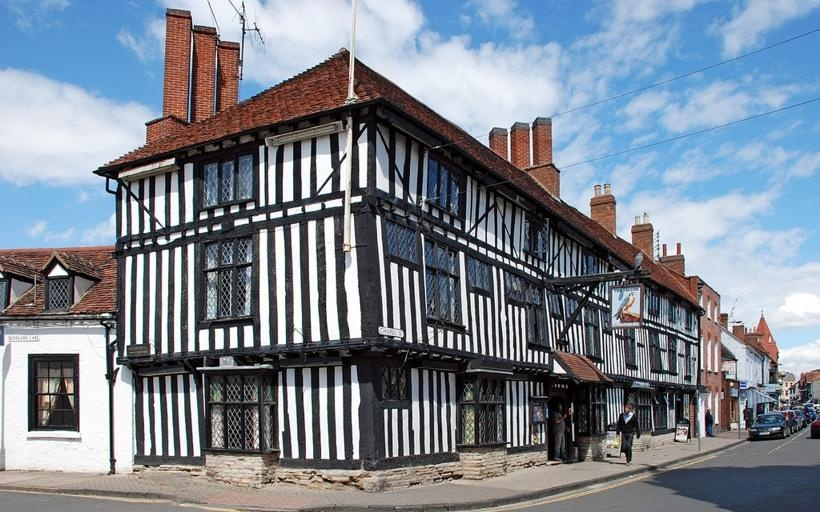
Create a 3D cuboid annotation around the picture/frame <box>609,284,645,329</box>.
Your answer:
[{"bbox_3d":[8.402,1.932,37.046,1.431,1.746,0.484,1,-7,39],"label":"picture/frame"}]

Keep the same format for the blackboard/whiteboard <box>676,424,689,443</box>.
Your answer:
[{"bbox_3d":[13.249,8.556,46.702,0.422,0.793,0.861,8,-6,-23],"label":"blackboard/whiteboard"}]
